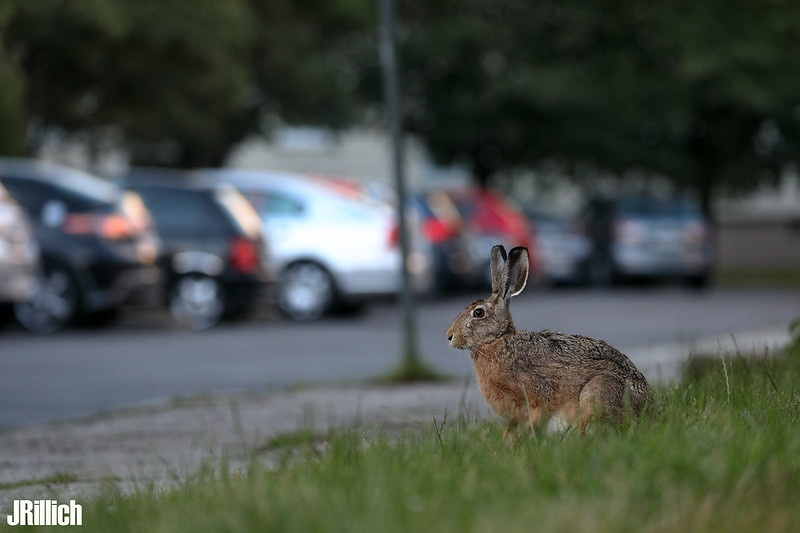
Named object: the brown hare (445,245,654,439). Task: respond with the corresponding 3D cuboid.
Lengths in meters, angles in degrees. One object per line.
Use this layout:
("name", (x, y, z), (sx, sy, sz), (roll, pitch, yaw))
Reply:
("brown hare", (0.901, 0.555, 10.377), (1.591, 1.533, 0.828), (4, -8, 8))
